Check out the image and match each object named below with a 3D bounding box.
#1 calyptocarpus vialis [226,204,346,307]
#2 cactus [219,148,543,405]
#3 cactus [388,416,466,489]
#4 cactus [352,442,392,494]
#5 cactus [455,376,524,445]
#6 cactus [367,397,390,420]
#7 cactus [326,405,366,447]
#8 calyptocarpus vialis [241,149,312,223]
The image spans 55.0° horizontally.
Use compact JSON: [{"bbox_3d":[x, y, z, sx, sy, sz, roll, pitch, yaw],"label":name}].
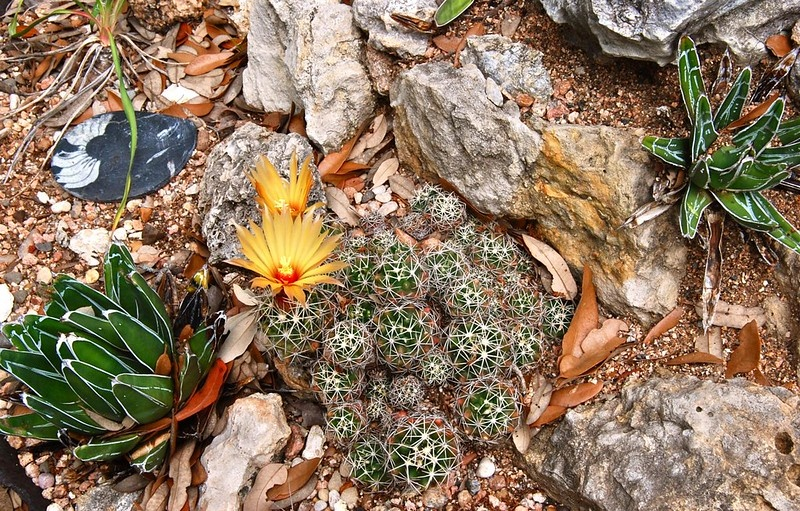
[{"bbox_3d":[-0.545,-0.004,3.573,0.488,0.223,0.498,42,72,-1],"label":"calyptocarpus vialis"},{"bbox_3d":[0.008,0.213,3.939,1.467,0.719,1.229,0,72,1],"label":"cactus"},{"bbox_3d":[0.124,0.973,3.833,0.313,0.201,0.366,12,82,-10],"label":"cactus"},{"bbox_3d":[-0.158,1.058,3.926,0.209,0.156,0.224,-2,66,-6],"label":"cactus"},{"bbox_3d":[0.448,0.793,3.935,0.317,0.180,0.274,3,65,-3],"label":"cactus"},{"bbox_3d":[-0.120,0.796,4.067,0.102,0.102,0.110,-31,107,-22],"label":"cactus"},{"bbox_3d":[-0.279,0.852,3.924,0.180,0.109,0.193,-25,91,-4],"label":"cactus"},{"bbox_3d":[-0.624,-0.288,3.925,0.297,0.282,0.343,12,64,-4],"label":"calyptocarpus vialis"}]
